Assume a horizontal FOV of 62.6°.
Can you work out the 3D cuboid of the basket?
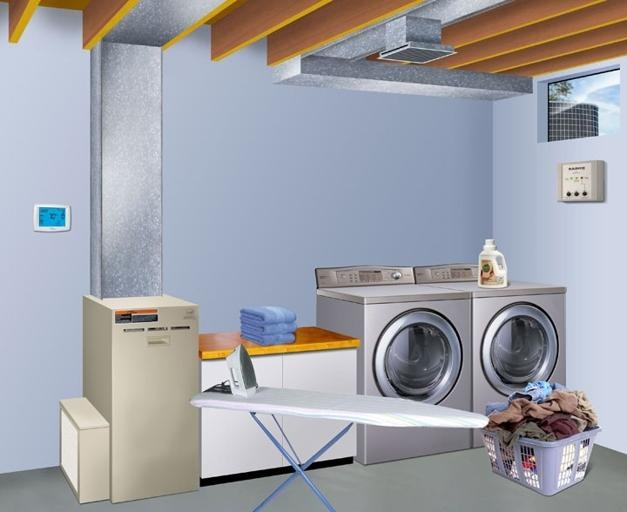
[{"bbox_3d":[1.465,1.258,3.279,0.600,0.286,0.470,4,-9,-34],"label":"basket"}]
